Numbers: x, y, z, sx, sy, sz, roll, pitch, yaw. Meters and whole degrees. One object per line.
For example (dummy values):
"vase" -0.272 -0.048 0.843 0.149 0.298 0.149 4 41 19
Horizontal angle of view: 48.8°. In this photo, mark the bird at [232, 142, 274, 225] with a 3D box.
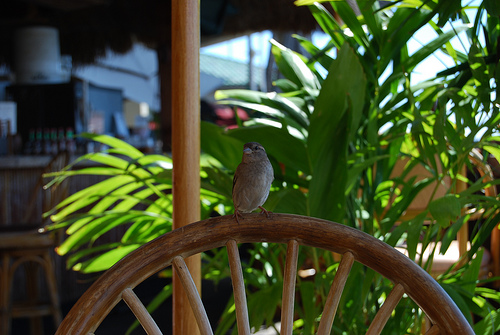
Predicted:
"bird" 0.010 0.032 1.715 0.124 0.257 0.240 5 6 -6
